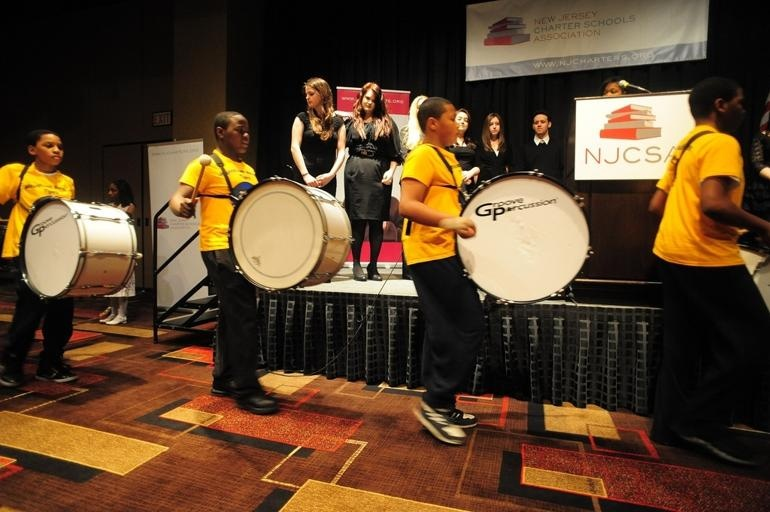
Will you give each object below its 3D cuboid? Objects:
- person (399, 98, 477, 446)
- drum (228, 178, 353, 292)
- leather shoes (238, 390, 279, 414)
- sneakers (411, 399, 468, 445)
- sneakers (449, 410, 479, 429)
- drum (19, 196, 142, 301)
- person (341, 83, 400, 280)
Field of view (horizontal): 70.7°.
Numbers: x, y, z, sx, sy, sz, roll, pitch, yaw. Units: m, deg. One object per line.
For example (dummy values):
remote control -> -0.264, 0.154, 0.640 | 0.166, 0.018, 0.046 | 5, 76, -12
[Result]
person -> 0.383, 0.096, 3.785 | 0.508, 2.358, 0.693 | -7, 15, -27
drum -> -0.711, -0.158, 4.064 | 0.824, 0.786, 0.529 | 5, 1, 23
leather shoes -> -0.985, 1.128, 4.178 | 0.293, 0.116, 0.151 | 1, 0, 25
sneakers -> 0.418, 1.178, 3.873 | 0.196, 0.203, 0.468 | 9, 10, -37
sneakers -> 0.568, 1.194, 3.926 | 0.300, 0.112, 0.106 | -2, 0, 0
drum -> -2.614, -0.016, 4.527 | 0.844, 0.802, 0.537 | -4, -3, 21
person -> -0.134, -0.734, 5.354 | 0.567, 1.919, 0.608 | 0, 13, 0
